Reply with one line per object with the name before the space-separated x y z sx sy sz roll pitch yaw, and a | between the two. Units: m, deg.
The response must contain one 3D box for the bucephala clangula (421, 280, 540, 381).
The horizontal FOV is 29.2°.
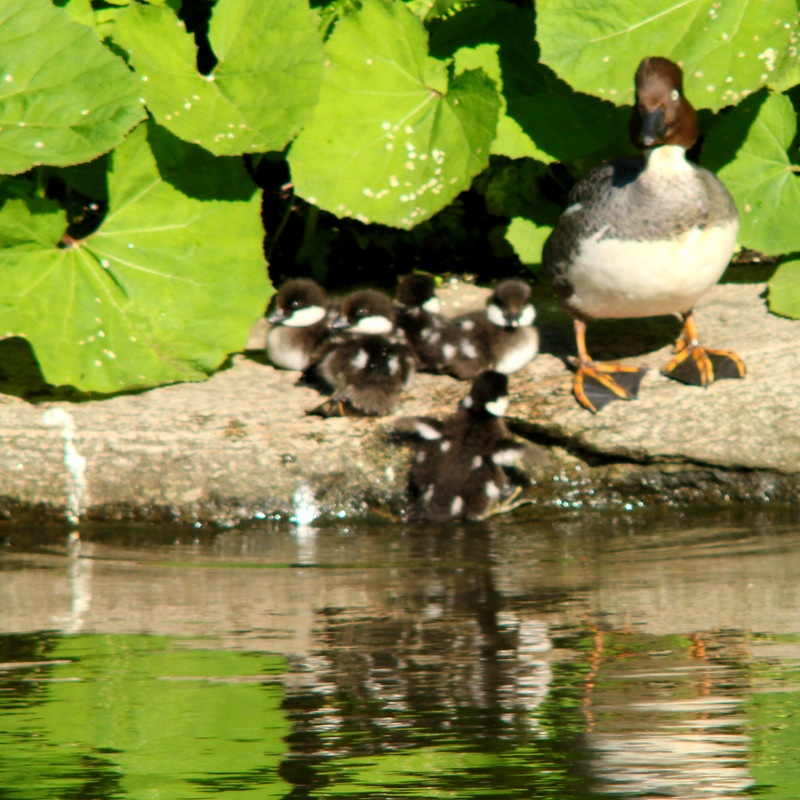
bucephala clangula | 0.352 -0.271 6.041 0.436 0.340 0.472 16 65 8
